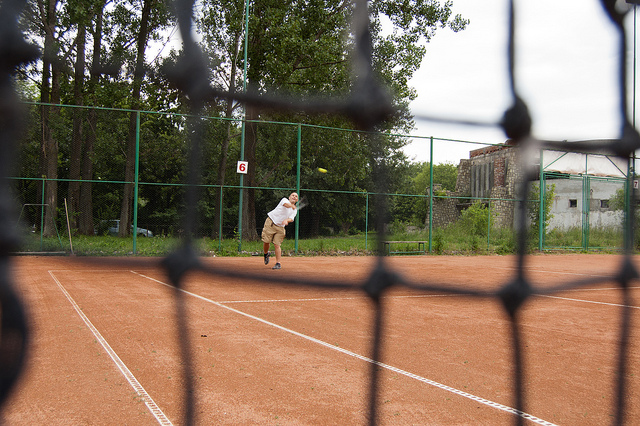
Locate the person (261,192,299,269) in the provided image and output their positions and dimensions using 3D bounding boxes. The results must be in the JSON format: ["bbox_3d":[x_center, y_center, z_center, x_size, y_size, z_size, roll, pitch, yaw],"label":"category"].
[{"bbox_3d":[-0.755,0.332,9.964,0.621,1.428,1.936,1,3,-5],"label":"person"}]
